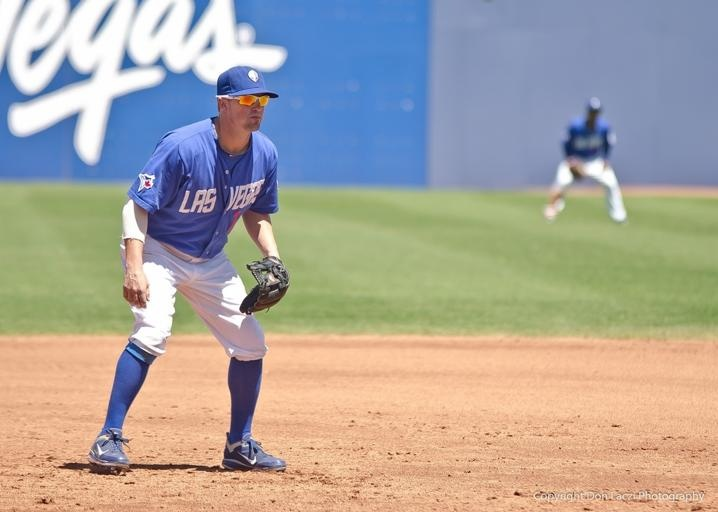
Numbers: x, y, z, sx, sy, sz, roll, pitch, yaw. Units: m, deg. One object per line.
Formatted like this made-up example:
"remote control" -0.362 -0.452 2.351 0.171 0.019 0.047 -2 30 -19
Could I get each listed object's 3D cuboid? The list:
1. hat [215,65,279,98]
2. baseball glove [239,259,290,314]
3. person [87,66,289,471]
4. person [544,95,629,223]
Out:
"hat" -0.912 -1.388 10.432 0.364 0.182 0.282 0 9 15
"baseball glove" -0.796 0.291 10.628 0.449 0.380 0.212 -29 -35 10
"person" -1.315 0.124 10.471 1.458 3.186 0.793 -3 15 -11
"person" 2.723 -1.224 15.724 1.236 1.566 0.864 3 38 8
